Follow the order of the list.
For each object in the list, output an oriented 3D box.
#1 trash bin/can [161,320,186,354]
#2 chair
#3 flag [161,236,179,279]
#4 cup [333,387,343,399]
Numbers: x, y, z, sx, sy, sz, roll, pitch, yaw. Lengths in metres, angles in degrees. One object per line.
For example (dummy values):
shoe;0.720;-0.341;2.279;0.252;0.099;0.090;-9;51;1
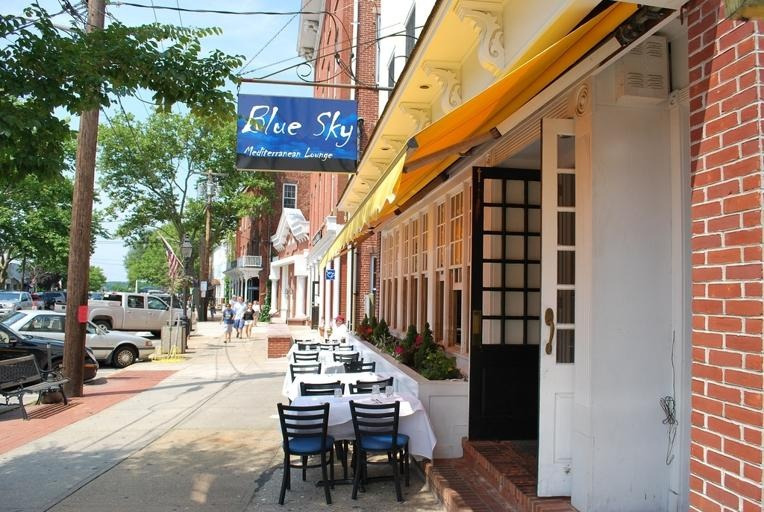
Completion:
trash bin/can;-7.418;2.931;21.872;0.592;1.115;1.130;0;-3;-4
chair;-0.333;2.590;9.010;2.055;1.458;2.162;1;-7;-5
flag;-8.411;0.102;24.465;0.667;1.707;3.283;2;-8;-20
cup;-0.644;2.034;9.135;0.108;0.110;0.112;0;-7;0
